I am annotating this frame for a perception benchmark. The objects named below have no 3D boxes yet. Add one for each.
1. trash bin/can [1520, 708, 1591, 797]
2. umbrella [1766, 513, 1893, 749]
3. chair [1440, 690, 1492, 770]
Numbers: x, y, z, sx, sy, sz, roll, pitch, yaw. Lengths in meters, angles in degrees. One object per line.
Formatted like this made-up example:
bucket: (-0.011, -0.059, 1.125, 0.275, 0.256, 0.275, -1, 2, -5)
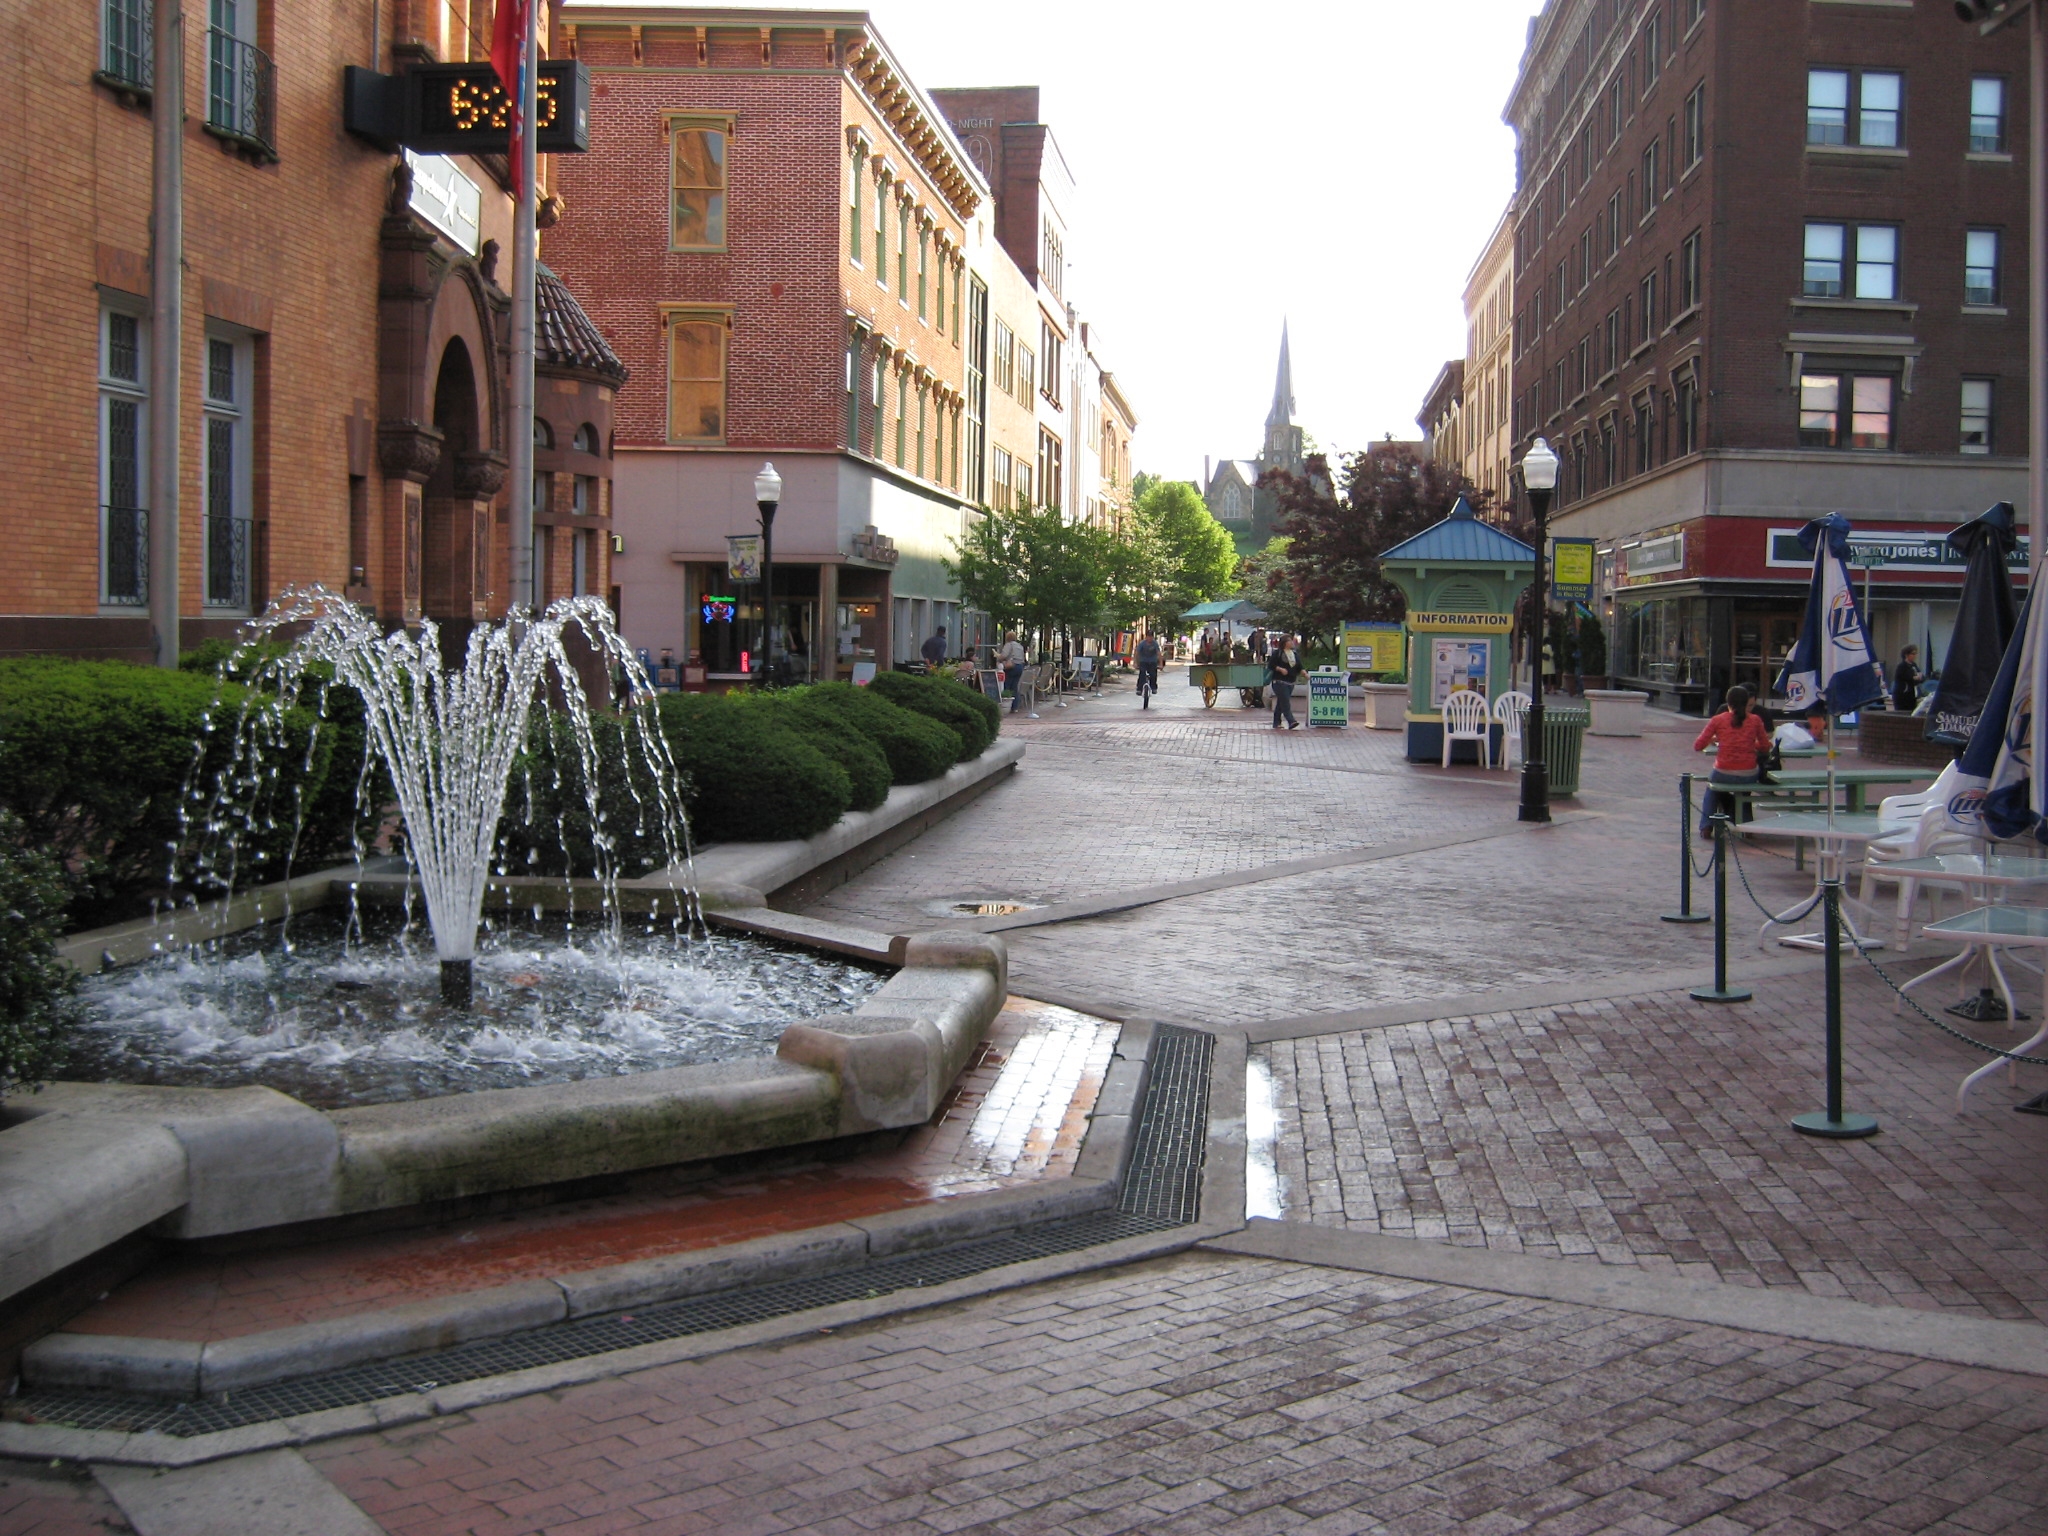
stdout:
trash bin/can: (7.982, -0.292, 25.135, 1.051, 1.462, 1.140, 0, 2, 1)
umbrella: (7.048, -1.278, 14.722, 0.805, 1.740, 1.759, 5, 8, 25)
chair: (7.845, -0.727, 29.861, 0.878, 1.268, 0.936, 4, 7, 15)
